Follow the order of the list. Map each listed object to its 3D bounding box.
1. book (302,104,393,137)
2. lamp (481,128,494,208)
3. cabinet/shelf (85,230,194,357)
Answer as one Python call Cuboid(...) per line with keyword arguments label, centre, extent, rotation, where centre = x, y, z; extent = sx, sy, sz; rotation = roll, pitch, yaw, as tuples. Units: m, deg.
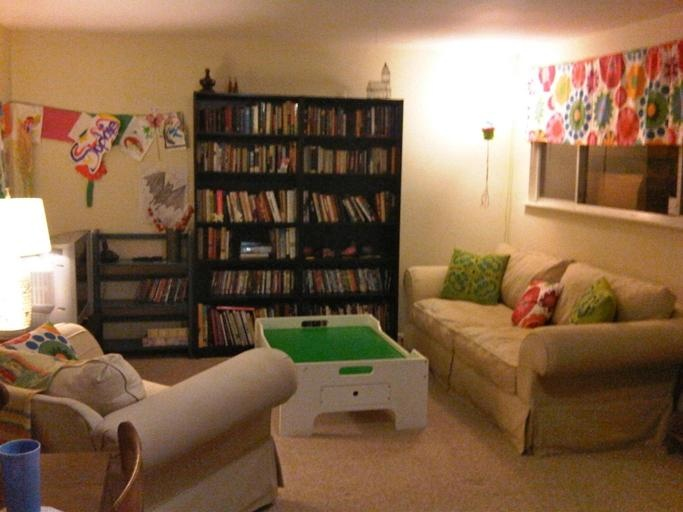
Cuboid(label="book", centre=(0.091, -1.273, 5.377), extent=(0.896, 0.290, 0.154), rotation=(-1, 13, -7))
Cuboid(label="lamp", centre=(1.490, -0.916, 5.812), extent=(0.116, 0.819, 0.212), rotation=(4, 13, 16))
Cuboid(label="cabinet/shelf", centre=(-1.863, 0.314, 5.204), extent=(1.066, 1.376, 0.474), rotation=(0, 4, -9))
